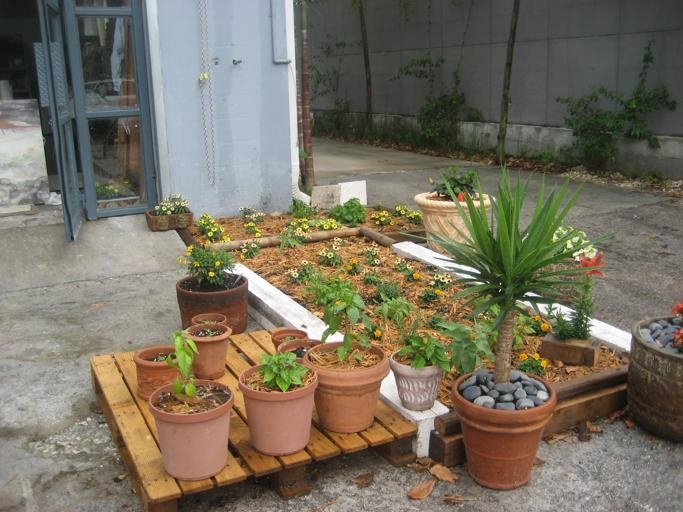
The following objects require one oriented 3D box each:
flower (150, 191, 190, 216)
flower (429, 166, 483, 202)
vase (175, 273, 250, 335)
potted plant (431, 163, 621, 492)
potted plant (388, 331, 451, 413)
[{"bbox_3d":[-2.397,-0.681,6.691,0.400,0.254,0.395,-5,27,-9],"label":"flower"},{"bbox_3d":[1.479,-1.029,6.053,0.656,0.506,0.725,-6,-3,26],"label":"flower"},{"bbox_3d":[-1.122,0.361,4.047,0.492,0.388,0.507,-4,15,-23],"label":"vase"},{"bbox_3d":[1.232,0.138,3.399,1.145,1.595,2.405,10,22,29],"label":"potted plant"},{"bbox_3d":[0.498,0.719,2.908,0.349,0.433,0.336,1,2,24],"label":"potted plant"}]
